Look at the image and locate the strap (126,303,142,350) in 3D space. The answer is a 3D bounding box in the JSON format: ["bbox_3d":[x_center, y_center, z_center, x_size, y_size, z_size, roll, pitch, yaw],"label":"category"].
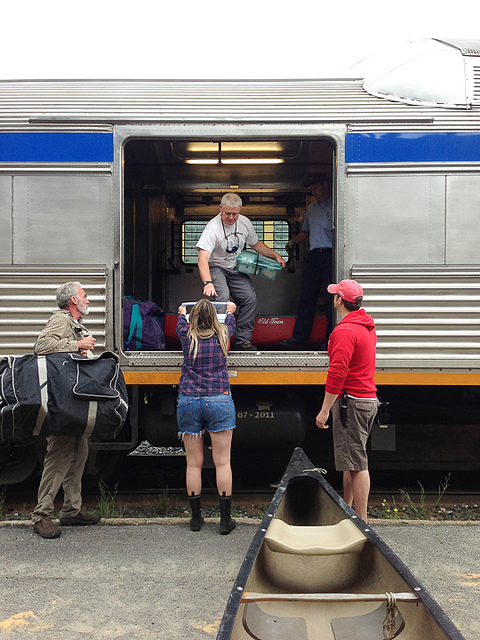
[{"bbox_3d":[-0.805,0.054,5.863,0.102,0.343,0.135,2,7,6],"label":"strap"}]

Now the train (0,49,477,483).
[{"bbox_3d":[0.061,-0.300,5.728,3.257,2.666,1.308,1,3,0],"label":"train"}]

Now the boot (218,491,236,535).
[{"bbox_3d":[-0.077,1.253,5.023,0.107,0.282,0.220,1,8,-1],"label":"boot"}]

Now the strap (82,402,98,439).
[{"bbox_3d":[-0.925,0.604,4.653,0.060,0.194,0.189,7,-7,-11],"label":"strap"}]

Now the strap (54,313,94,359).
[{"bbox_3d":[-1.092,0.086,5.107,0.234,0.302,0.234,6,10,7],"label":"strap"}]

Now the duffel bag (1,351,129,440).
[{"bbox_3d":[-1.085,0.499,4.712,0.766,0.560,0.294,-2,8,-19],"label":"duffel bag"}]

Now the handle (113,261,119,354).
[{"bbox_3d":[-0.916,-0.098,5.598,0.045,0.666,0.128,0,7,-9],"label":"handle"}]

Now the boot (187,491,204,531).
[{"bbox_3d":[-0.289,1.255,5.085,0.097,0.270,0.209,1,8,-2],"label":"boot"}]

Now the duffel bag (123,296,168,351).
[{"bbox_3d":[-0.786,0.052,6.070,0.399,0.435,0.325,0,-1,-12],"label":"duffel bag"}]
